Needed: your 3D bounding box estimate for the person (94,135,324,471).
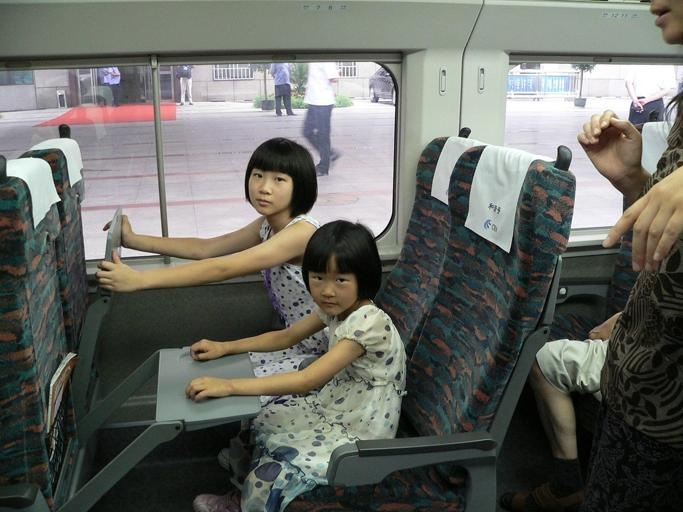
[{"bbox_3d":[-0.453,0.252,2.067,0.985,1.407,0.530,-2,20,-20],"label":"person"}]
